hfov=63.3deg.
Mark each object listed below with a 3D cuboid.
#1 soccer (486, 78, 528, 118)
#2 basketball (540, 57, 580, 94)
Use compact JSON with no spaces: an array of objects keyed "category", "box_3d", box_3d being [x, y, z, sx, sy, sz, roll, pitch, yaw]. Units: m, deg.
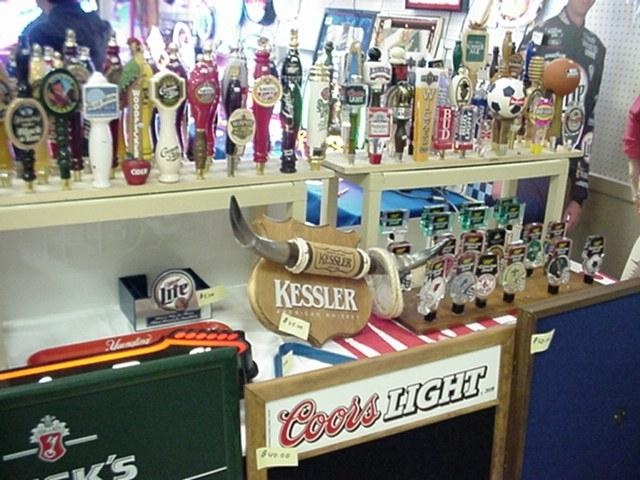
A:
[{"category":"soccer","box_3d":[0.776,-0.593,2.170,0.152,0.193,0.155,1,13,-3]},{"category":"basketball","box_3d":[1.086,-0.732,2.377,0.172,0.195,0.184,-3,6,12]}]
